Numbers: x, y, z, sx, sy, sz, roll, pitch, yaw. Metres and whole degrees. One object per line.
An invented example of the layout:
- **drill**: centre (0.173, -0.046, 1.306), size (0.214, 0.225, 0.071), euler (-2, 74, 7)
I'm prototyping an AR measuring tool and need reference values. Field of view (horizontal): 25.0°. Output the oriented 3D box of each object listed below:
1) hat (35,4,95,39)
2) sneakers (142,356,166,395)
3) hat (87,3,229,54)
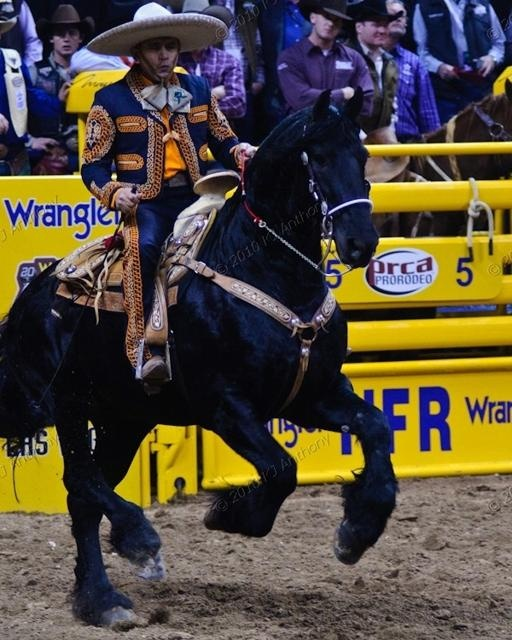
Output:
- **hat**: centre (-1.276, -2.009, 7.869), size (0.330, 0.128, 0.347), euler (-1, -21, -6)
- **sneakers**: centre (-0.383, 0.209, 4.458), size (0.070, 0.078, 0.167), euler (4, -33, -11)
- **hat**: centre (-0.368, -1.162, 4.693), size (0.394, 0.085, 0.324), euler (-8, -12, 0)
